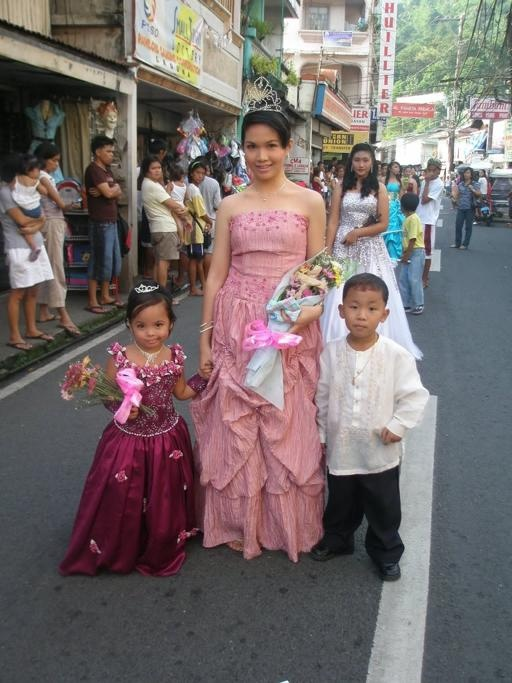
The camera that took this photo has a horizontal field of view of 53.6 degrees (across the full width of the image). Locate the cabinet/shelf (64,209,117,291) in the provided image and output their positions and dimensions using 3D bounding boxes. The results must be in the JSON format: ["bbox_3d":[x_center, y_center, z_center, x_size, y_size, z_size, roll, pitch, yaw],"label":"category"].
[{"bbox_3d":[-2.384,-1.381,7.310,1.140,1.152,0.649,-4,14,-9],"label":"cabinet/shelf"}]

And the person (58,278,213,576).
[{"bbox_3d":[-0.500,0.355,2.142,0.630,1.214,0.403,-2,8,-24],"label":"person"}]

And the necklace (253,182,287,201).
[{"bbox_3d":[0.046,-0.645,2.175,0.147,0.079,0.081,3,8,8],"label":"necklace"}]

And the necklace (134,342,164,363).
[{"bbox_3d":[-0.452,0.044,2.164,0.089,0.074,0.089,3,1,-18],"label":"necklace"}]

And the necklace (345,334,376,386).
[{"bbox_3d":[0.409,0.099,2.047,0.083,0.150,0.044,4,-2,23],"label":"necklace"}]

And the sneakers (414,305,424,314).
[{"bbox_3d":[2.467,-0.491,7.735,0.074,0.096,0.224,6,16,20],"label":"sneakers"}]

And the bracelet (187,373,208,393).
[{"bbox_3d":[-0.274,0.203,2.426,0.089,0.097,0.088,-3,9,-37],"label":"bracelet"}]

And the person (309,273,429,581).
[{"bbox_3d":[0.472,0.354,2.138,0.449,1.267,0.281,2,8,7],"label":"person"}]

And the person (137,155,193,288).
[{"bbox_3d":[-1.397,-1.845,7.863,0.674,2.036,0.581,-9,25,-21],"label":"person"}]

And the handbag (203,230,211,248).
[{"bbox_3d":[-0.834,-1.769,8.612,0.122,0.404,0.109,1,40,7],"label":"handbag"}]
